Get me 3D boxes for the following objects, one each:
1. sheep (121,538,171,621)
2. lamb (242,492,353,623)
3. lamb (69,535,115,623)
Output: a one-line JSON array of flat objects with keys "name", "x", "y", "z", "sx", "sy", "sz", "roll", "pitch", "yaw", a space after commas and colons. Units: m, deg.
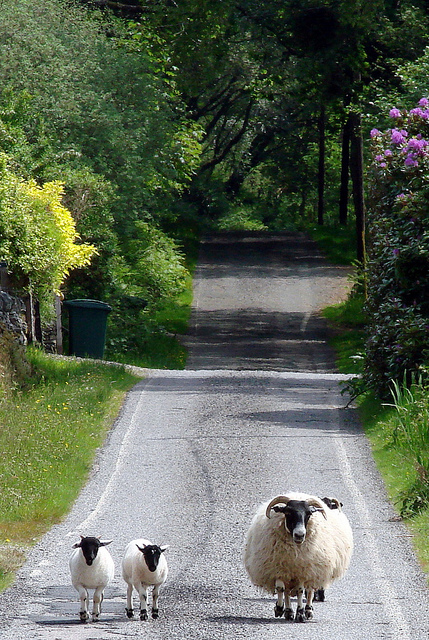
[{"name": "sheep", "x": -0.591, "y": 2.248, "z": 9.417, "sx": 0.341, "sy": 0.671, "sz": 0.943, "roll": 3, "pitch": -11, "yaw": -13}, {"name": "lamb", "x": 0.740, "y": 2.143, "z": 9.733, "sx": 0.873, "sy": 1.054, "sz": 1.430, "roll": 5, "pitch": -20, "yaw": 6}, {"name": "lamb", "x": -1.051, "y": 2.245, "z": 9.415, "sx": 0.361, "sy": 0.758, "sz": 0.292, "roll": 0, "pitch": 8, "yaw": -8}]
